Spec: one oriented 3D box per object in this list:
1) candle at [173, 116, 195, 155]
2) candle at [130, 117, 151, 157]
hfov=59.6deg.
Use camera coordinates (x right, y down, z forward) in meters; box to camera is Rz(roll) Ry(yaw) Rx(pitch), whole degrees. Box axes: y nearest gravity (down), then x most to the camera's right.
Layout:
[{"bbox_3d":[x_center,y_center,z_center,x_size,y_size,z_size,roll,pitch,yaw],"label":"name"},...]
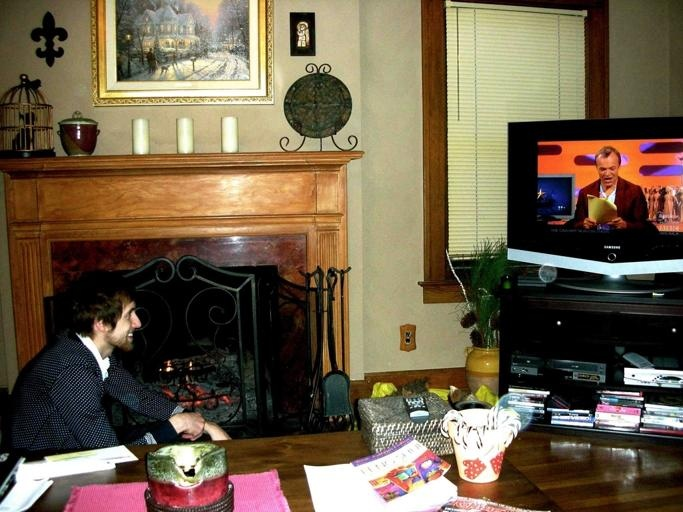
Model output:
[{"bbox_3d":[-0.922,-0.717,3.535,0.089,0.220,0.134,-4,7,-11],"label":"candle"},{"bbox_3d":[-1.200,-0.716,3.582,0.090,0.225,0.271,-5,7,-21],"label":"candle"}]
